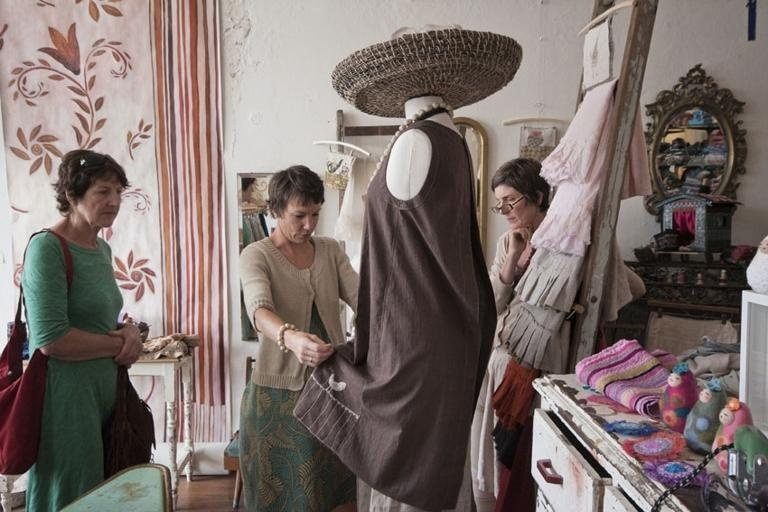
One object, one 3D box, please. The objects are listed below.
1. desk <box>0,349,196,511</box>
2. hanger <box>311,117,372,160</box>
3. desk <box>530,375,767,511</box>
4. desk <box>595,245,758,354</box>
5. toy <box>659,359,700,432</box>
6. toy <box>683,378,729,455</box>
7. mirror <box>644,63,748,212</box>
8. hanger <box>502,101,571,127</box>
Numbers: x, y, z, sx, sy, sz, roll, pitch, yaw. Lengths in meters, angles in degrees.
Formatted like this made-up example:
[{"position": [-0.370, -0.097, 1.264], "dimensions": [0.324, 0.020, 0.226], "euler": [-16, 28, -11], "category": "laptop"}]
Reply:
[{"position": [-1.591, 0.871, 3.535], "dimensions": [1.106, 1.114, 0.860], "euler": [0, 0, 4], "category": "desk"}, {"position": [-0.237, -0.663, 3.518], "dimensions": [0.549, 0.180, 0.075], "euler": [11, 2, 18], "category": "hanger"}, {"position": [0.820, 0.481, 1.888], "dimensions": [0.283, 0.341, 0.485], "euler": [-3, 9, -16], "category": "desk"}, {"position": [1.691, 0.336, 3.256], "dimensions": [0.214, 0.543, 0.628], "euler": [-3, 2, -38], "category": "desk"}, {"position": [0.988, 0.480, 1.946], "dimensions": [0.136, 0.246, 0.140], "euler": [-1, 4, 40], "category": "toy"}, {"position": [1.046, 0.525, 1.872], "dimensions": [0.131, 0.248, 0.132], "euler": [5, -1, 10], "category": "toy"}, {"position": [1.808, -0.664, 3.405], "dimensions": [0.550, 0.895, 0.047], "euler": [2, 0, 4], "category": "mirror"}, {"position": [0.914, -0.839, 3.475], "dimensions": [0.411, 0.150, 0.038], "euler": [2, 0, 1], "category": "hanger"}]
